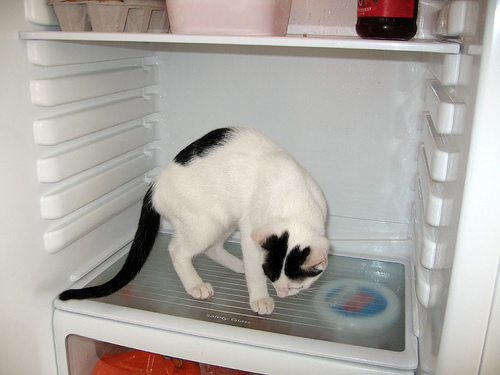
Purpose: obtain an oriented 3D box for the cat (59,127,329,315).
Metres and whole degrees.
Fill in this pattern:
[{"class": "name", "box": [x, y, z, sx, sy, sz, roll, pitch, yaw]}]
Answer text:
[{"class": "cat", "box": [-0.146, 0.069, 1.226, 0.713, 0.379, 0.512, 4, 28, 7]}]
